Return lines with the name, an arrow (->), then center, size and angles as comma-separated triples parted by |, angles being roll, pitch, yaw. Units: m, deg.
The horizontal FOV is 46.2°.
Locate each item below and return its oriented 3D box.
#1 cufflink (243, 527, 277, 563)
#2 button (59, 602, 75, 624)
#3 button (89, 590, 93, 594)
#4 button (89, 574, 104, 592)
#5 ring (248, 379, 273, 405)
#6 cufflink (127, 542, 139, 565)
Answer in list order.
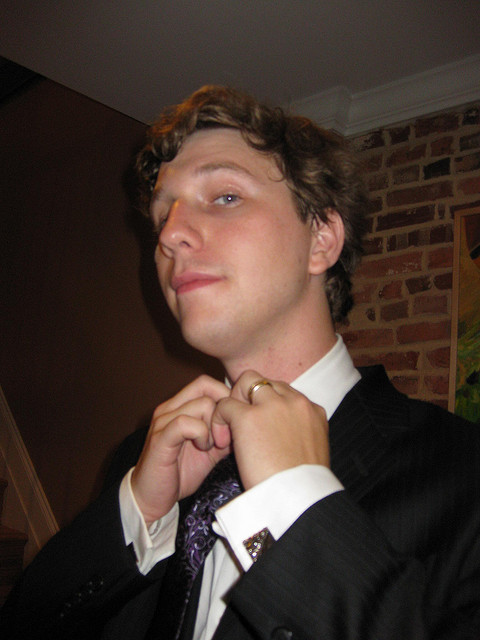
cufflink -> 0.030, 0.343, 0.863 | 0.047, 0.044, 0.014 | -36, -10, -1
button -> -0.337, 0.572, 1.102 | 0.008, 0.034, 0.032 | 11, -87, -54
button -> -0.293, 0.531, 1.099 | 0.002, 0.006, 0.005 | -1, -81, -54
button -> -0.282, 0.515, 1.101 | 0.007, 0.027, 0.026 | 39, -121, -62
ring -> 0.036, 0.127, 1.013 | 0.037, 0.015, 0.040 | -20, -58, -35
cufflink -> -0.215, 0.465, 1.126 | 0.011, 0.023, 0.031 | -11, -84, -20
